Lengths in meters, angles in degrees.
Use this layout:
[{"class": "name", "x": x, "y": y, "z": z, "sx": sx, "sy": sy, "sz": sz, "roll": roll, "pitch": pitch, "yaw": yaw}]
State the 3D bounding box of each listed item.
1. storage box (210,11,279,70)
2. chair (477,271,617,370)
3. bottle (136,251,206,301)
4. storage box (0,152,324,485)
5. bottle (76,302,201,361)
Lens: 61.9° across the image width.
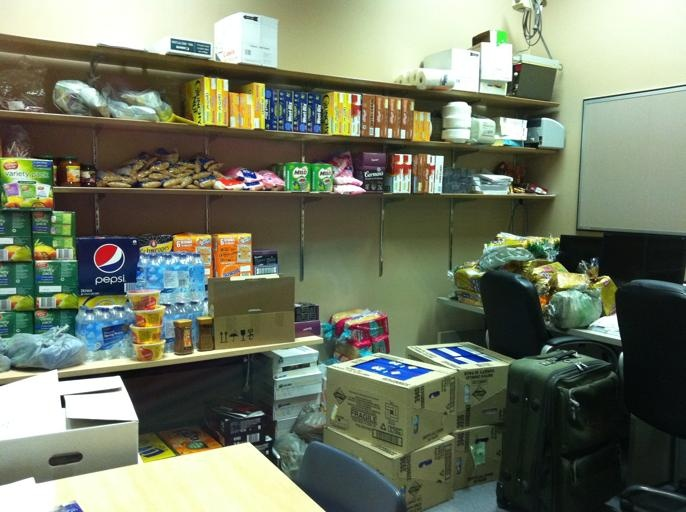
[{"class": "storage box", "x": -0.631, "y": -1.314, "z": 3.619, "sx": 0.362, "sy": 0.299, "sz": 0.347, "roll": -2, "pitch": 13, "yaw": -29}, {"class": "chair", "x": 1.198, "y": 0.277, "z": 3.596, "sx": 0.691, "sy": 0.805, "sz": 0.599, "roll": -3, "pitch": 6, "yaw": -17}, {"class": "bottle", "x": -0.958, "y": 0.123, "z": 3.177, "sx": 0.362, "sy": 0.289, "sz": 0.114, "roll": -5, "pitch": 7, "yaw": -22}, {"class": "storage box", "x": -0.945, "y": 0.303, "z": 3.516, "sx": 1.730, "sy": 1.102, "sz": 1.075, "roll": -2, "pitch": 1, "yaw": -37}, {"class": "bottle", "x": -1.080, "y": 0.385, "z": 3.076, "sx": 0.636, "sy": 0.283, "sz": 0.097, "roll": -5, "pitch": 7, "yaw": -22}]
